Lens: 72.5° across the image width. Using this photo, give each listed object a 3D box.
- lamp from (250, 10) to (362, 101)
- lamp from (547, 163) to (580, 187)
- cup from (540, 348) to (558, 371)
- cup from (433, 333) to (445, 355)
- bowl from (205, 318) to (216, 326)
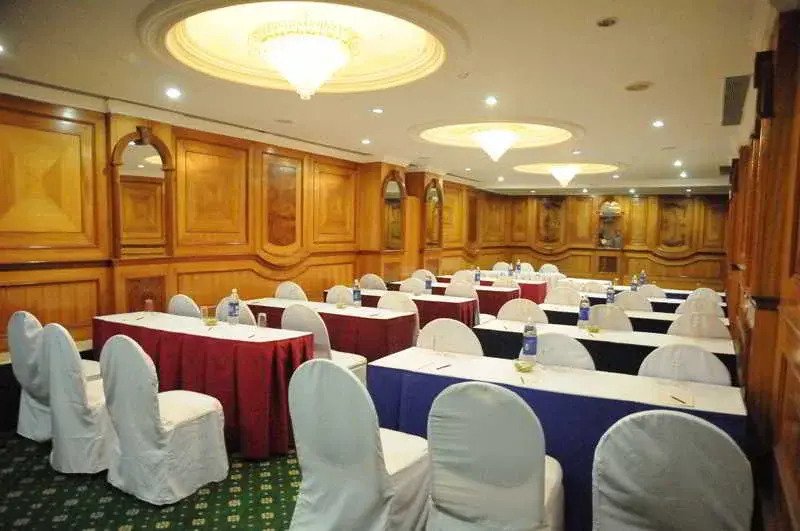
[{"bbox_3d":[-0.962,-2.203,5.589,0.887,0.804,0.915,-1,0,-22],"label":"lamp"},{"bbox_3d":[3.521,-2.001,11.907,0.620,0.313,0.651,0,3,0],"label":"lamp"},{"bbox_3d":[1.265,0.791,4.716,0.105,0.170,0.165,2,0,-41],"label":"cup"},{"bbox_3d":[0.364,0.739,5.061,0.123,0.254,0.130,2,5,0],"label":"cup"},{"bbox_3d":[-2.026,0.605,5.853,0.079,0.053,0.080,3,1,0],"label":"bowl"}]
